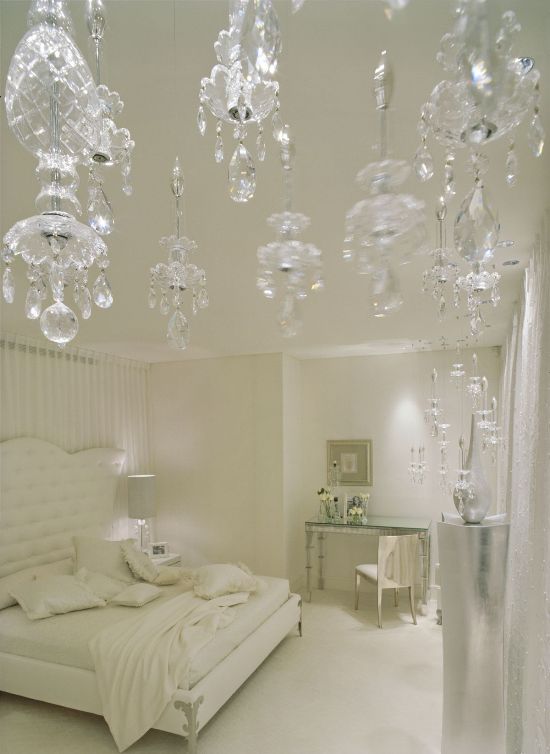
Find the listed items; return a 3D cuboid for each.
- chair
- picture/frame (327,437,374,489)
[{"bbox_3d":[0.919,1.592,5.191,0.544,0.696,1.112,-1,-4,13],"label":"chair"},{"bbox_3d":[0.725,0.822,5.907,0.334,0.486,0.043,-1,-3,16],"label":"picture/frame"}]
